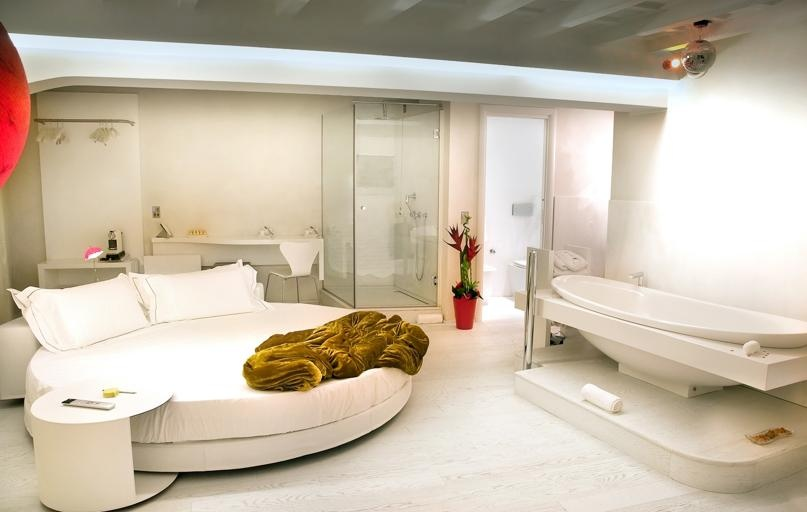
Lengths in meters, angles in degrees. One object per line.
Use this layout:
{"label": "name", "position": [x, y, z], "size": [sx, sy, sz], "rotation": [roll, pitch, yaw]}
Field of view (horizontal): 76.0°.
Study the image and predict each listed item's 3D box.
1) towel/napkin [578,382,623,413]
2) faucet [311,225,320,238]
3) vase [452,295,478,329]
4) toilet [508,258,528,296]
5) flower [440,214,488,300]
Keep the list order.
{"label": "towel/napkin", "position": [1.690, 1.201, 4.404], "size": [0.167, 0.135, 0.329], "rotation": [7, 5, -30]}
{"label": "faucet", "position": [-1.303, -0.367, 7.630], "size": [0.148, 0.161, 0.188], "rotation": [-5, 12, -10]}
{"label": "vase", "position": [0.814, 0.759, 6.822], "size": [0.395, 0.383, 0.389], "rotation": [0, -1, -7]}
{"label": "toilet", "position": [1.815, 0.379, 8.035], "size": [0.253, 0.612, 0.498], "rotation": [-4, 12, -1]}
{"label": "flower", "position": [0.818, 0.046, 6.909], "size": [0.500, 1.174, 0.497], "rotation": [-3, 13, 0]}
